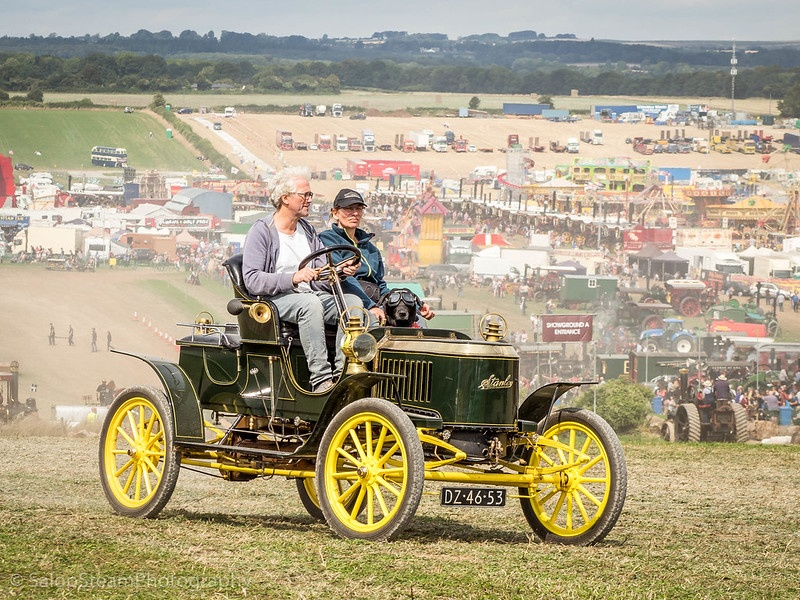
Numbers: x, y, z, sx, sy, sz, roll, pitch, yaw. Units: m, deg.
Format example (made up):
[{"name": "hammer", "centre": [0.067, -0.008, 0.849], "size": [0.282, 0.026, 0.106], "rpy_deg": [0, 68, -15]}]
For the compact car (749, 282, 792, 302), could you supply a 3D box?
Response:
[{"name": "compact car", "centre": [33.792, -0.889, 166.022], "size": [3.391, 1.386, 4.253], "rpy_deg": [2, 0, 1]}]

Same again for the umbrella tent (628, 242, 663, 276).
[{"name": "umbrella tent", "centre": [22.453, -3.759, 166.397], "size": [2.956, 1.701, 2.901], "rpy_deg": [1, 0, -5]}]

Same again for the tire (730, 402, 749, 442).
[{"name": "tire", "centre": [23.176, 8.393, 124.665], "size": [0.850, 2.165, 2.224], "rpy_deg": [0, -28, 9]}]

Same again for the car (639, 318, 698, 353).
[{"name": "car", "centre": [22.799, 3.058, 154.459], "size": [4.619, 2.555, 2.442], "rpy_deg": [2, -1, 12]}]

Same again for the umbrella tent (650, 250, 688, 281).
[{"name": "umbrella tent", "centre": [24.423, -3.024, 165.444], "size": [3.154, 2.322, 2.147], "rpy_deg": [2, -1, 26]}]

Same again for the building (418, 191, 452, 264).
[{"name": "building", "centre": [3.433, -6.809, 178.142], "size": [3.175, 5.974, 8.168], "rpy_deg": [1, 0, -6]}]

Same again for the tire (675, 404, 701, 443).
[{"name": "tire", "centre": [19.715, 8.394, 124.297], "size": [0.898, 2.517, 2.638], "rpy_deg": [0, -1, -5]}]
